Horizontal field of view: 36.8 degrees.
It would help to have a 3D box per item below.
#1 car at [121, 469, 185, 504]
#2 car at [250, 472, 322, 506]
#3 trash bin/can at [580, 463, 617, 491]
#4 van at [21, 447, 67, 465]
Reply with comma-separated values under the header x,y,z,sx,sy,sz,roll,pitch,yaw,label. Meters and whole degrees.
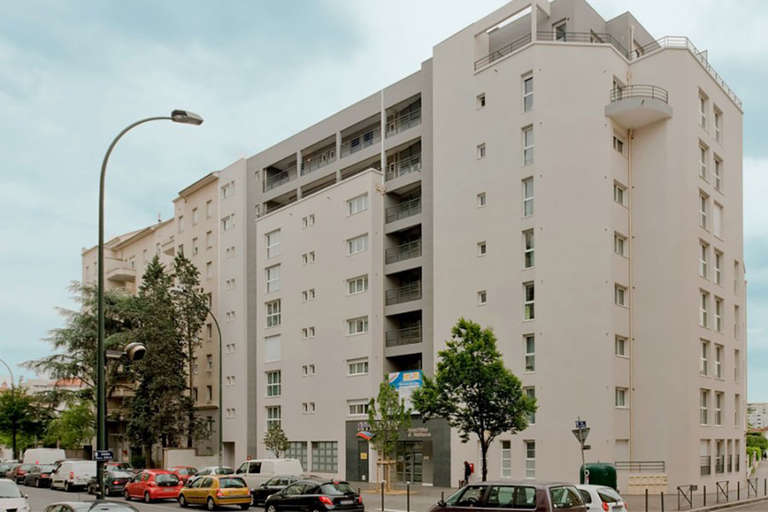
x,y,z,sx,sy,sz,roll,pitch,yaw,label
-17.121,16.810,84.780,2.920,2.455,5.390,6,-8,-39,car
-7.511,16.101,79.678,3.337,1.548,1.981,-3,-9,28,car
14.692,15.070,78.175,1.782,2.037,1.878,-1,-5,8,trash bin/can
-30.166,17.423,100.712,3.336,1.865,2.077,-2,-5,43,van
